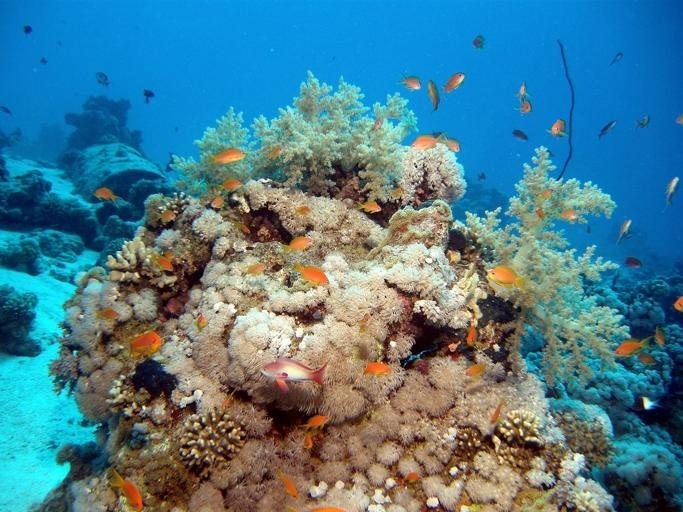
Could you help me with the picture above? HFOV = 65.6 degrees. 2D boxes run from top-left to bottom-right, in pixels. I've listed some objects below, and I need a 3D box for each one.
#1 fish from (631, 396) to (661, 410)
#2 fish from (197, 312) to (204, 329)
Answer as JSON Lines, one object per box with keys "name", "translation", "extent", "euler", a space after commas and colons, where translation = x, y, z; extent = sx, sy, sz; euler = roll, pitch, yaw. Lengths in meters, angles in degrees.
{"name": "fish", "translation": [7.128, 3.477, 12.509], "extent": [0.174, 0.367, 0.629], "euler": [-40, 9, -34]}
{"name": "fish", "translation": [-2.894, 1.365, 10.915], "extent": [0.178, 0.090, 0.249], "euler": [14, 30, 2]}
